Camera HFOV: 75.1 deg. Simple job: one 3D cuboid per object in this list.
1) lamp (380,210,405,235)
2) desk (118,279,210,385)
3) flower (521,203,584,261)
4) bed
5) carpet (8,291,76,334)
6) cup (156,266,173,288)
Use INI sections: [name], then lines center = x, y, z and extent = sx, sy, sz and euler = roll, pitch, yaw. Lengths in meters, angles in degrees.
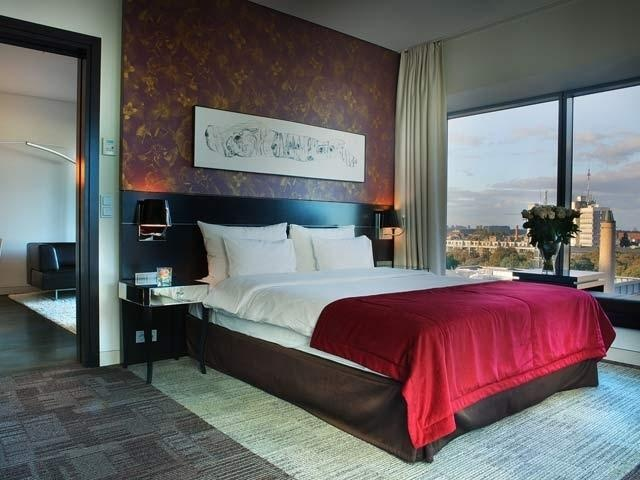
[lamp]
center = 0.988, -0.243, 5.541
extent = 0.310, 0.393, 0.295
euler = -1, 2, 14
[desk]
center = -1.255, 0.838, 3.815
extent = 0.796, 0.787, 0.692
euler = 10, -7, -21
[flower]
center = 2.631, -0.037, 4.728
extent = 0.600, 0.654, 0.597
euler = 8, -3, -25
[bed]
center = 0.240, 0.767, 3.534
extent = 2.369, 1.477, 2.321
euler = -2, 1, -37
[carpet]
center = -4.257, 1.111, 6.337
extent = 1.867, 0.732, 0.057
euler = -5, -7, 27
[cup]
center = -1.326, 0.316, 3.562
extent = 0.151, 0.173, 0.150
euler = 0, -1, 0
